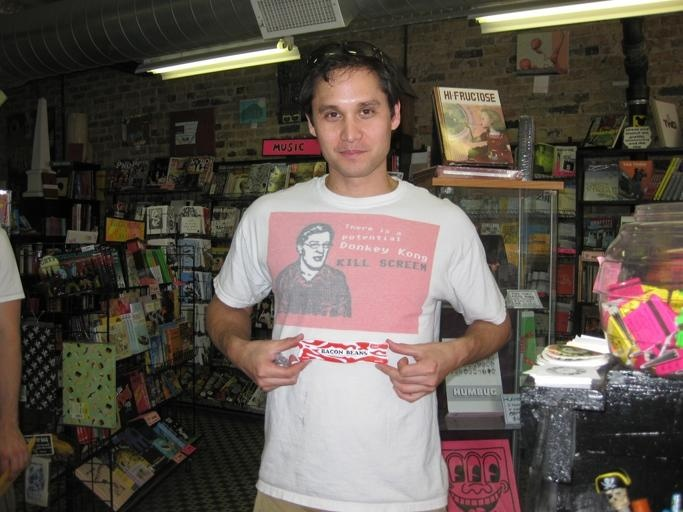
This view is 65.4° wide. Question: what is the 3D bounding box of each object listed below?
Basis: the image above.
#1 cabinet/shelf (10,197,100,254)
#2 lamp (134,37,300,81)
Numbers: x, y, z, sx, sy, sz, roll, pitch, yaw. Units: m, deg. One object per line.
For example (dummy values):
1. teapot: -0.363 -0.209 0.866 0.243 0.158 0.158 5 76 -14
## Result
1. cabinet/shelf: -3.427 -0.379 6.737 1.052 0.843 0.333 11 9 6
2. lamp: -1.154 -1.943 5.044 1.141 0.128 0.344 -19 42 -20
